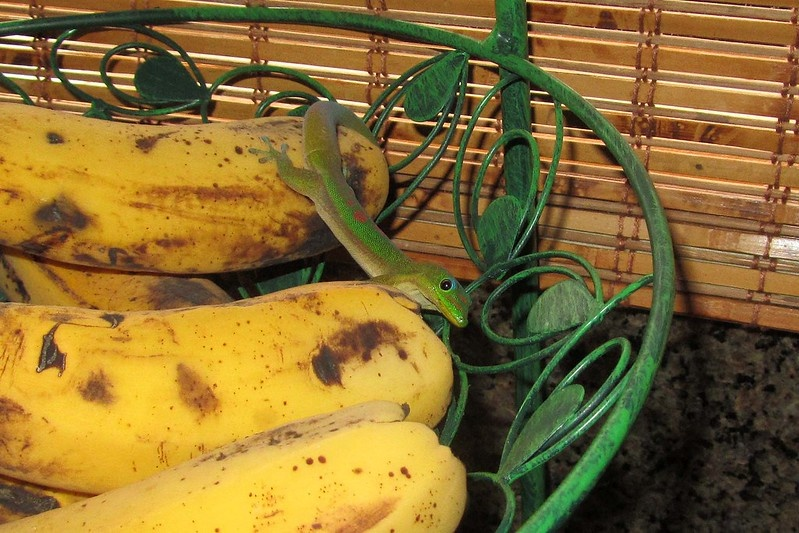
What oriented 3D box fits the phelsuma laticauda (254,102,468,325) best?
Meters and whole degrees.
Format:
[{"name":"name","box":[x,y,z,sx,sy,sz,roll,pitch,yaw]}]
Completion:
[{"name":"phelsuma laticauda","box":[-0.056,-0.068,1.739,0.107,0.387,0.263,-28,5,23]}]
